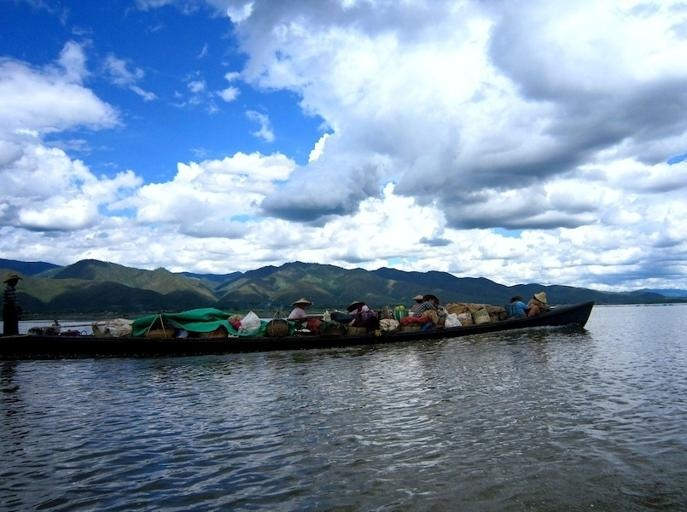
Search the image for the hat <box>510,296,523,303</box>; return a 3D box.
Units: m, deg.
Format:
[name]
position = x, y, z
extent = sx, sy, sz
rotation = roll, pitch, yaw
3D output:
[hat]
position = 20.293, 4.465, 50.739
extent = 1.218, 0.818, 0.927
rotation = -9, 7, -13
